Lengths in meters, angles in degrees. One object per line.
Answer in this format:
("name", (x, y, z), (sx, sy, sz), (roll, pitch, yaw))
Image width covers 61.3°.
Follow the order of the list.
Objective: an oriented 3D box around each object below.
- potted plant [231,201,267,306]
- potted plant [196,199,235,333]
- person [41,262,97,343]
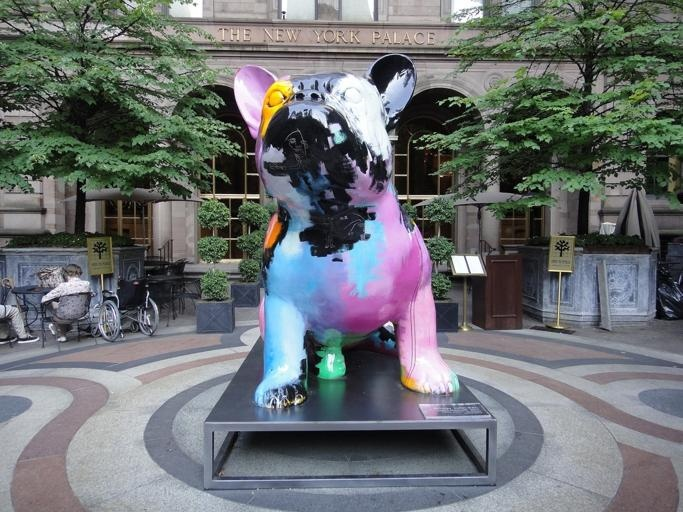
("potted plant", (-2.225, -0.041, 13.767), (1.103, 2.449, 1.107), (3, 2, -44))
("potted plant", (-2.279, 0.342, 10.835), (0.767, 2.618, 0.656), (14, 7, 34))
("person", (-4.842, 0.854, 10.211), (0.906, 1.335, 0.866), (7, 3, -7))
